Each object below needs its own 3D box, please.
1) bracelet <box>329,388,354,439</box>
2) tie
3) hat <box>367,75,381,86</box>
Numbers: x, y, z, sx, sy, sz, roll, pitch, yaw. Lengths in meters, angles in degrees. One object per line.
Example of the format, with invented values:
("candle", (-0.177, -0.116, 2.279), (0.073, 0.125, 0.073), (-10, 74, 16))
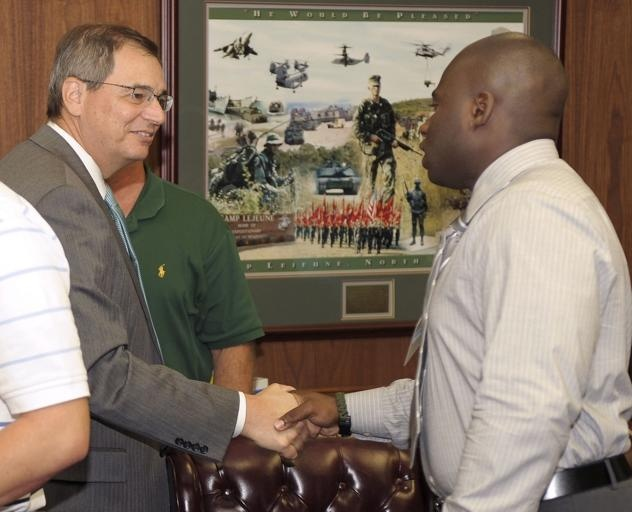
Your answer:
("bracelet", (0.076, 0.429, 1.772), (0.058, 0.105, 0.097), (-5, 16, 3))
("tie", (-0.441, 0.052, 1.559), (0.049, 0.524, 0.050), (-15, -5, 19))
("hat", (0.249, -0.721, 2.658), (0.032, 0.041, 0.044), (1, 22, 2))
